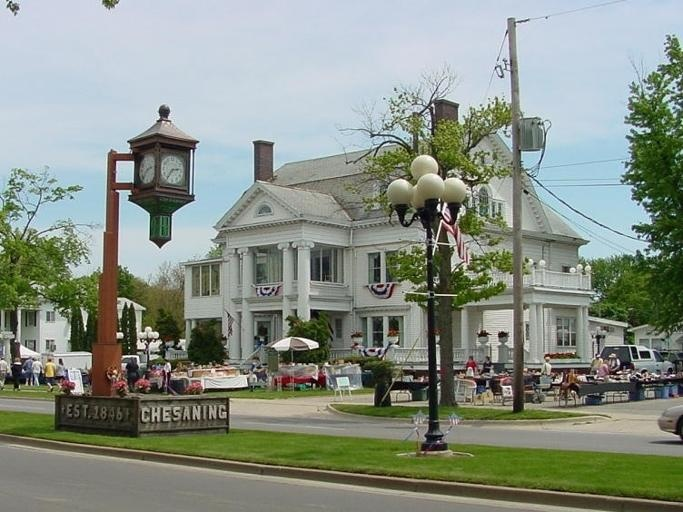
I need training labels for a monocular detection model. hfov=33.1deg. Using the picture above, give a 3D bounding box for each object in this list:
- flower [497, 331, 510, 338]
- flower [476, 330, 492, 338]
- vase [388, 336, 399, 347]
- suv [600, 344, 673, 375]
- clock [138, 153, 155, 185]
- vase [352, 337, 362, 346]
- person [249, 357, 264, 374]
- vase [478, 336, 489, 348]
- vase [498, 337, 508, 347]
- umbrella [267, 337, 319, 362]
[{"bbox_3d":[8.563,4.128,60.895,0.434,0.298,0.419,0,-1,10],"label":"flower"},{"bbox_3d":[7.629,4.061,61.388,0.423,0.323,0.580,-12,-22,43],"label":"flower"},{"bbox_3d":[2.700,4.533,61.547,0.621,0.659,0.632,-4,-11,20],"label":"vase"},{"bbox_3d":[16.572,5.854,63.525,3.420,1.657,1.863,-2,0,-34],"label":"suv"},{"bbox_3d":[-5.509,-2.495,32.729,0.085,0.833,0.823,7,-13,-30],"label":"clock"},{"bbox_3d":[0.988,4.855,65.945,0.543,0.603,0.559,7,-14,-35],"label":"vase"},{"bbox_3d":[-4.695,6.001,63.399,0.611,0.688,1.717,0,-3,1],"label":"person"},{"bbox_3d":[7.611,4.519,61.498,0.617,0.482,0.648,-2,-14,12],"label":"vase"},{"bbox_3d":[8.618,4.509,61.001,0.638,0.480,0.642,0,-10,-2],"label":"vase"},{"bbox_3d":[-2.349,4.800,59.059,1.569,0.979,1.549,0,-2,-7],"label":"umbrella"}]
